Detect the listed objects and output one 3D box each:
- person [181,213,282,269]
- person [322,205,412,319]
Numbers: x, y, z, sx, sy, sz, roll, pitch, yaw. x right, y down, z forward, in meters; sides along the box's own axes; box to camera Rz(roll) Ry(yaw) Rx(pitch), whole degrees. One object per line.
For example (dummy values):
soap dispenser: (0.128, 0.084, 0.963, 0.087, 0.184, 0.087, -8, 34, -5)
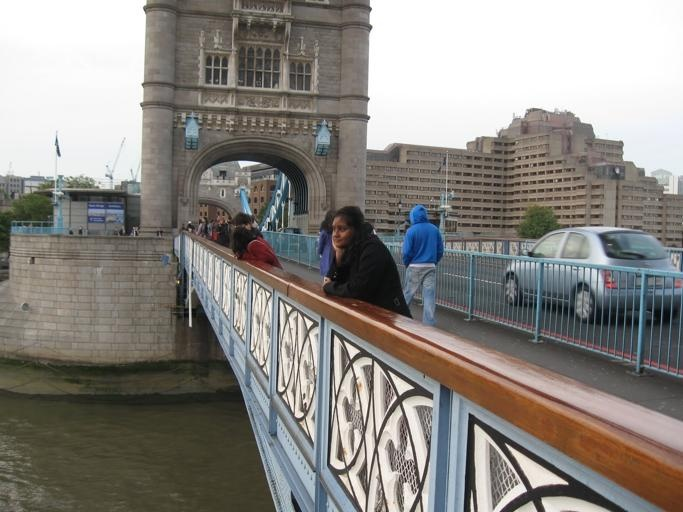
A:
person: (-0.884, -0.165, 6.946, 0.451, 0.516, 1.641, 0, 3, -8)
person: (0.097, 0.026, 4.862, 0.712, 0.743, 0.717, -1, 3, -30)
